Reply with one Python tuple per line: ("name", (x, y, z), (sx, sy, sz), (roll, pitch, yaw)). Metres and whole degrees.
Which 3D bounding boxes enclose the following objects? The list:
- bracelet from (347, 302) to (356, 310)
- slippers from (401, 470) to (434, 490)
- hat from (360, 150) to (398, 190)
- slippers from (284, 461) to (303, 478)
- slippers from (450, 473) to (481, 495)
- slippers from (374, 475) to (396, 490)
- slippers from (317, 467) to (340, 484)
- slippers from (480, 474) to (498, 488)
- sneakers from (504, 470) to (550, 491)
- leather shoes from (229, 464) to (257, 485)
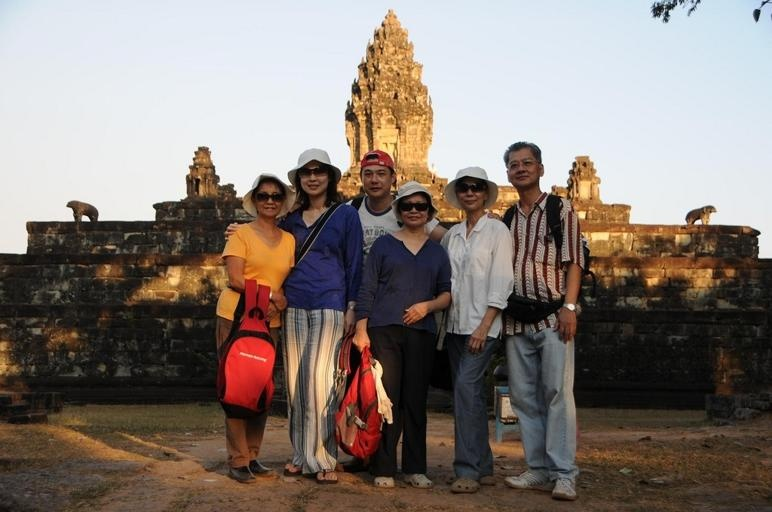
("bracelet", (-0.462, 0.683, 16.374), (0.113, 0.092, 0.104), (0, -15, 1))
("slippers", (0.445, 3.074, 16.226), (0.184, 0.138, 0.346), (4, -10, -42))
("hat", (-0.081, -1.351, 16.763), (0.395, 0.264, 0.514), (-1, -21, 9))
("slippers", (-1.266, 2.914, 16.233), (0.153, 0.152, 0.245), (10, -28, -1))
("slippers", (1.091, 3.086, 16.046), (0.395, 0.180, 0.238), (2, 14, 5))
("slippers", (-0.001, 3.066, 16.100), (0.281, 0.106, 0.124), (10, 40, 1))
("slippers", (-0.791, 2.980, 16.153), (0.324, 0.200, 0.229), (0, 14, -5))
("slippers", (1.431, 3.065, 16.264), (0.237, 0.143, 0.121), (16, -22, -11))
("sneakers", (1.971, 3.040, 16.206), (0.660, 0.252, 0.237), (3, 1, 1))
("leather shoes", (-1.938, 2.950, 16.039), (0.369, 0.145, 0.174), (-1, -5, 33))
